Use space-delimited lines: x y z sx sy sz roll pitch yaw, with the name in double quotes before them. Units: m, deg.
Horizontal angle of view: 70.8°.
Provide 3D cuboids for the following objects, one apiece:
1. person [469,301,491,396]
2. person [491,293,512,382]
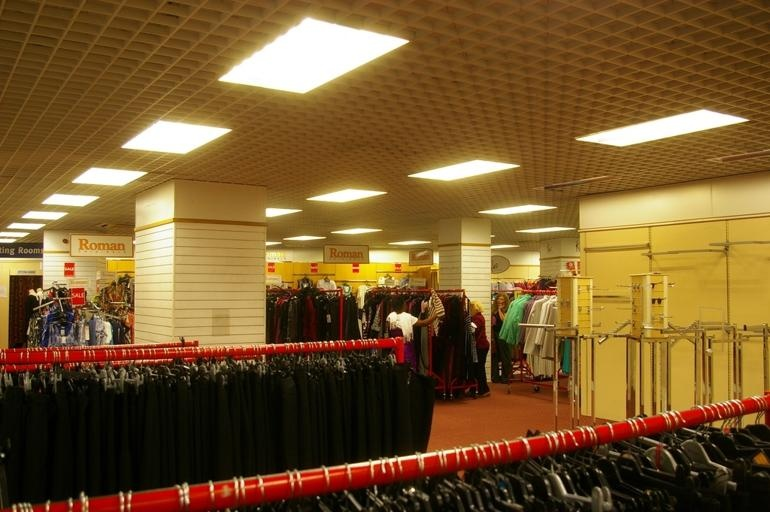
"person" 1.827 1.785 10.312 0.274 1.810 0.796 -2 -5 18
"person" 2.595 1.813 11.963 0.417 1.957 1.088 -1 -5 11
